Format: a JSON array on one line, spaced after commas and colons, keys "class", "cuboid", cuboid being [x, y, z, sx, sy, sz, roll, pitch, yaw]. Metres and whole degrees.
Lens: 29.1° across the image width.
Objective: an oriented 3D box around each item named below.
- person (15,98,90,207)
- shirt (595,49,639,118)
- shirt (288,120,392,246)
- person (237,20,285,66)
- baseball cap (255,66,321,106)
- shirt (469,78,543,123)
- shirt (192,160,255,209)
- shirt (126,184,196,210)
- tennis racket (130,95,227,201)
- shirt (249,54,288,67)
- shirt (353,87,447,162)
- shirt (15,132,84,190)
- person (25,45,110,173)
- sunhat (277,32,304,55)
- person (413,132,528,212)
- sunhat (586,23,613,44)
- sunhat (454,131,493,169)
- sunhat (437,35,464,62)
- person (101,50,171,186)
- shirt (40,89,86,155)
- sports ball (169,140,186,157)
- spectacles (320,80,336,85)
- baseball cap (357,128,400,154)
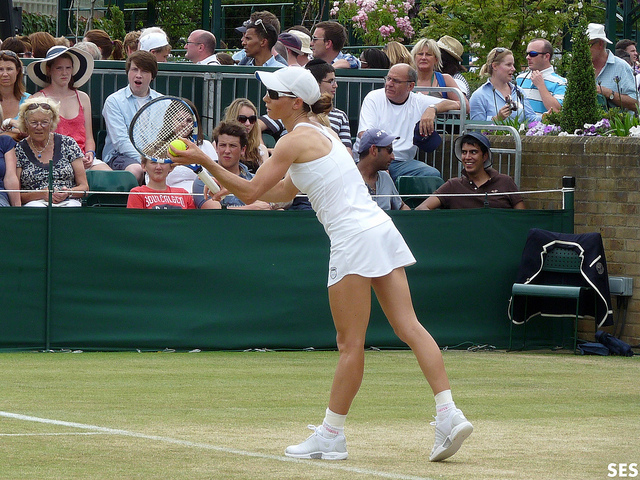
[{"class": "person", "cuboid": [-2.861, -0.952, 13.207, 0.767, 1.128, 0.656, 0, 8, -13]}, {"class": "shirt", "cuboid": [3.854, -2.166, 16.014, 0.561, 0.631, 0.517, 5, 8, 22]}, {"class": "shirt", "cuboid": [0.172, -0.523, 9.563, 0.687, 0.962, 0.698, 14, 17, 32]}, {"class": "person", "cuboid": [-0.759, -2.466, 15.626, 0.409, 0.675, 0.351, 14, 18, 39]}, {"class": "baseball cap", "cuboid": [-0.245, -1.203, 9.594, 0.484, 0.297, 0.239, 2, 8, 0]}, {"class": "shirt", "cuboid": [2.361, -1.816, 15.939, 0.933, 0.551, 0.440, -2, 8, -23]}, {"class": "shirt", "cuboid": [-1.100, -0.513, 13.530, 0.644, 0.650, 0.597, -11, 18, -41]}, {"class": "shirt", "cuboid": [-1.708, -0.432, 13.287, 0.612, 0.273, 0.448, -7, 14, -42]}, {"class": "tennis racket", "cuboid": [-1.282, -0.929, 10.234, 0.574, 0.513, 0.786, -5, 10, -39]}, {"class": "shirt", "cuboid": [-0.675, -2.262, 15.542, 0.716, 0.146, 0.392, 9, 10, 43]}, {"class": "shirt", "cuboid": [0.896, -1.447, 14.901, 0.816, 0.678, 1.035, -20, 37, -32]}, {"class": "shirt", "cuboid": [-2.957, -0.755, 13.425, 0.832, 0.712, 0.444, -9, 17, -12]}, {"class": "person", "cuboid": [-2.841, -1.445, 14.139, 1.003, 1.467, 1.148, -3, 12, -21]}, {"class": "sunhat", "cuboid": [-0.378, -2.550, 15.850, 0.307, 0.116, 0.217, 31, 1, 21]}, {"class": "person", "cuboid": [1.770, -0.754, 14.120, 1.110, 0.975, 0.814, 3, 10, 10]}, {"class": "sunhat", "cuboid": [3.590, -2.706, 16.040, 0.249, 0.226, 0.589, 4, 8, 13]}, {"class": "sunhat", "cuboid": [1.760, -1.066, 14.340, 0.426, 0.413, 1.017, 3, 8, 6]}, {"class": "sunhat", "cuboid": [1.799, -2.694, 17.125, 0.333, 0.145, 0.387, 35, 0, 18]}, {"class": "person", "cuboid": [-2.105, -1.462, 14.025, 0.763, 2.062, 0.863, 13, 18, 39]}, {"class": "shirt", "cuboid": [-2.937, -1.358, 14.291, 0.370, 0.837, 0.378, -2, 4, 17]}, {"class": "sports ball", "cuboid": [-1.099, -0.731, 9.524, 0.128, 0.120, 0.126, 17, 16, -5]}, {"class": "spectacles", "cuboid": [0.088, -1.793, 13.973, 0.036, 0.047, 0.203, 9, 10, 41]}, {"class": "baseball cap", "cuboid": [0.591, -1.100, 13.520, 0.370, 0.166, 0.226, -4, 6, 1]}]
